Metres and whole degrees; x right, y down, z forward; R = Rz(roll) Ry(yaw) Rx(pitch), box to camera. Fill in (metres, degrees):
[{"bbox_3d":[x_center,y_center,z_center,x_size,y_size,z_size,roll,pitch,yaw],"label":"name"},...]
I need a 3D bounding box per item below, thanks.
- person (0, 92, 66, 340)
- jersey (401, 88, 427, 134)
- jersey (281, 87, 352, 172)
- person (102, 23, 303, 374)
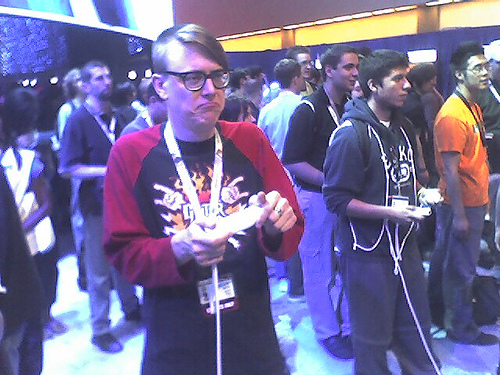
[{"bbox_3d":[-1.572,0.168,3.091,0.202,1.649,0.429,-1,18,16],"label":"person"},{"bbox_3d":[1.595,-0.738,4.163,0.188,0.417,0.284,8,22,38],"label":"jersey"},{"bbox_3d":[0.511,-0.430,3.250,0.274,0.590,0.624,22,31,39],"label":"jersey"},{"bbox_3d":[-0.187,0.084,1.804,0.840,1.462,0.490,-11,18,-16],"label":"person"}]
